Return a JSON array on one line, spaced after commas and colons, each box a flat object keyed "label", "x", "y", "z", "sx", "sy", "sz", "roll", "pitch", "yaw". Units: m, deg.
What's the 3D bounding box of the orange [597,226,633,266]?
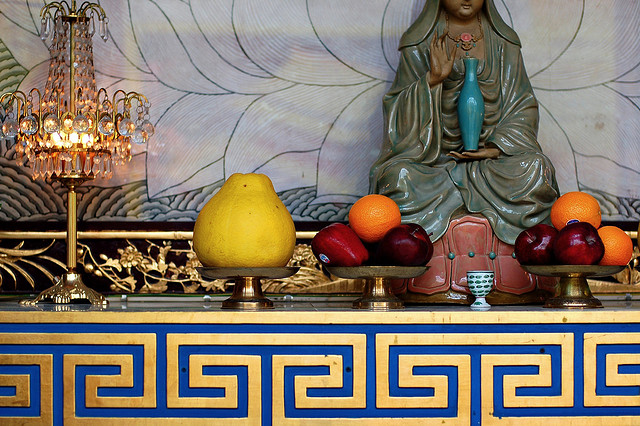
[{"label": "orange", "x": 1.022, "y": 0.110, "z": 6.056, "sx": 0.128, "sy": 0.134, "sz": 0.124, "roll": -18, "pitch": 17, "yaw": -37}]

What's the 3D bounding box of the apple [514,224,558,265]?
[{"label": "apple", "x": 0.741, "y": 0.109, "z": 6.017, "sx": 0.176, "sy": 0.149, "sz": 0.060, "roll": -9, "pitch": -17, "yaw": 33}]

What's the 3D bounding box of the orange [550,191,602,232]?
[{"label": "orange", "x": 0.883, "y": -0.007, "z": 6.066, "sx": 0.161, "sy": 0.137, "sz": 0.142, "roll": -4, "pitch": -1, "yaw": -7}]

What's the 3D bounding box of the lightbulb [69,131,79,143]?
[{"label": "lightbulb", "x": -0.895, "y": -0.280, "z": 6.348, "sx": 0.035, "sy": 0.029, "sz": 0.044, "roll": 2, "pitch": -14, "yaw": -9}]

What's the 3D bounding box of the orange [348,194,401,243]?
[{"label": "orange", "x": 0.186, "y": 0.014, "z": 6.106, "sx": 0.184, "sy": 0.156, "sz": 0.158, "roll": 3, "pitch": -6, "yaw": -8}]

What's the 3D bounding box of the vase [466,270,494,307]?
[{"label": "vase", "x": 0.563, "y": 0.255, "z": 6.074, "sx": 0.092, "sy": 0.144, "sz": 0.108, "roll": -1, "pitch": -14, "yaw": 5}]

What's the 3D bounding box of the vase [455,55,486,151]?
[{"label": "vase", "x": 0.554, "y": -0.398, "z": 6.398, "sx": 0.078, "sy": 0.339, "sz": 0.086, "roll": 14, "pitch": -19, "yaw": -42}]
